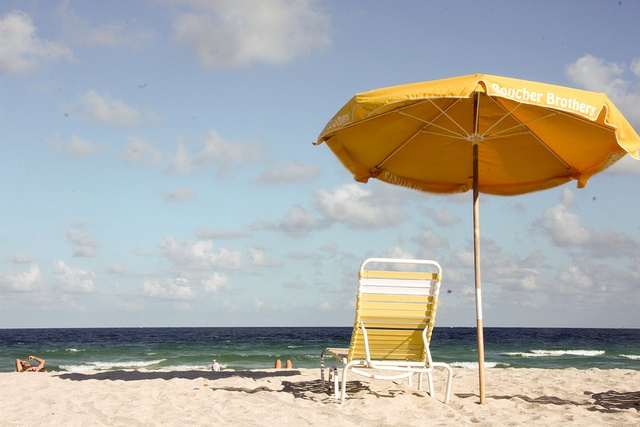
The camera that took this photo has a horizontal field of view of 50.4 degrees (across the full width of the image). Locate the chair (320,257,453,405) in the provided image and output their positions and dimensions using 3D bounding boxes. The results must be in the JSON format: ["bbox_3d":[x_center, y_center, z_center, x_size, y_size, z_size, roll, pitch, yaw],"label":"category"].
[{"bbox_3d":[1.347,2.206,12.808,2.094,2.658,2.127,0,-9,4],"label":"chair"}]
